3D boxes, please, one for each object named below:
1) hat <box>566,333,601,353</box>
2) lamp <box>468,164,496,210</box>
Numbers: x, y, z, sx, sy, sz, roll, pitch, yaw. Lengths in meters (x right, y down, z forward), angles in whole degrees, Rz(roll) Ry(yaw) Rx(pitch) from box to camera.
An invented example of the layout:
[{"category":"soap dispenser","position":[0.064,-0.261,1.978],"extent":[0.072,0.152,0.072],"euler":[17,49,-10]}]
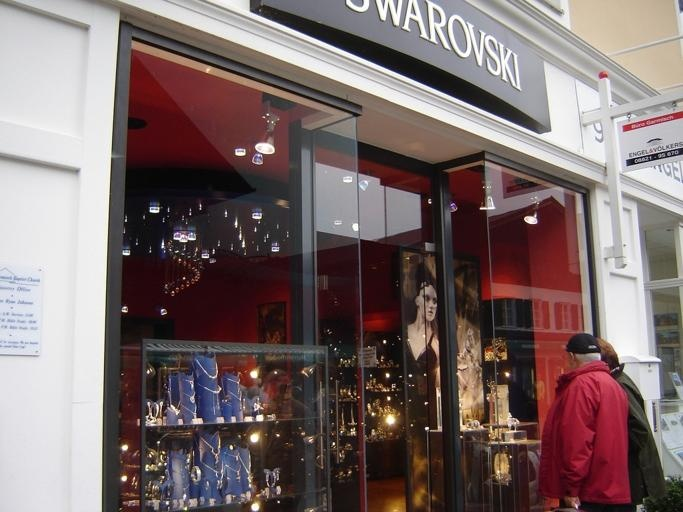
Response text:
[{"category":"hat","position":[1.734,0.639,4.688],"extent":[0.134,0.111,0.183],"euler":[1,-1,-7]},{"category":"lamp","position":[1.244,-0.586,5.697],"extent":[0.165,0.427,0.420],"euler":[-2,-11,-4]}]
